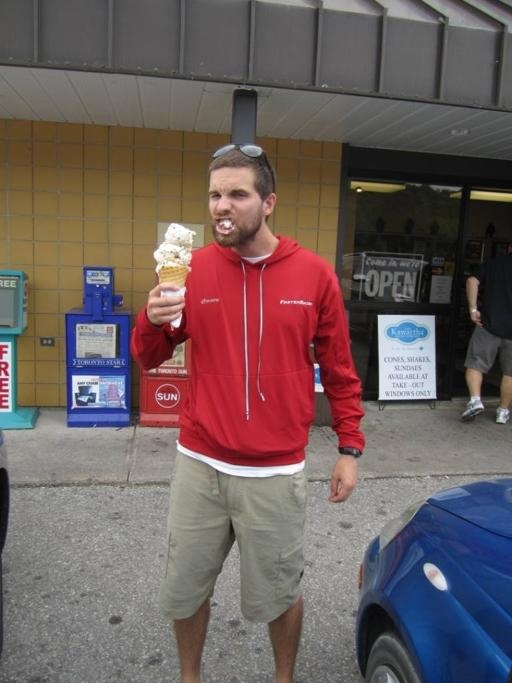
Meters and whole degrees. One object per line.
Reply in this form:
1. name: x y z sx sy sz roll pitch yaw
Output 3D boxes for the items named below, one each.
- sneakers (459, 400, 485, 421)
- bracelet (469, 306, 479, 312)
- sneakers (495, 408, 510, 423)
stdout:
1. sneakers: 2.472 0.803 6.754 0.162 0.201 0.427 -7 -9 5
2. bracelet: 2.528 -0.365 6.893 0.079 0.045 0.101 1 5 0
3. sneakers: 2.877 0.878 6.898 0.111 0.122 0.278 1 2 33
